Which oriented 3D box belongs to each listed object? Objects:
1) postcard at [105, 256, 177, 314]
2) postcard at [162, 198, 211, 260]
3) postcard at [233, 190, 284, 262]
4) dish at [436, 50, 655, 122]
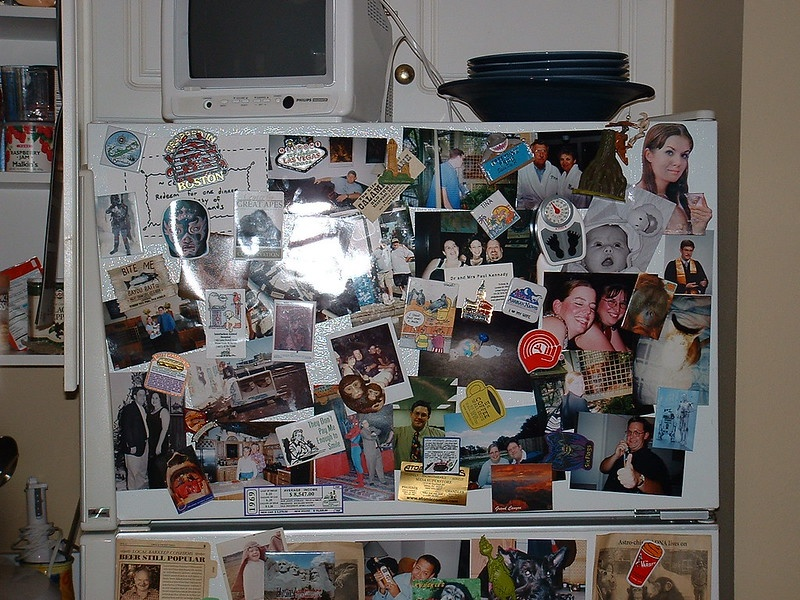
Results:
[{"bbox_3d":[-0.510,-0.036,1.644,0.087,0.073,0.005,-19,3,4],"label":"postcard"},{"bbox_3d":[-0.423,-0.148,1.639,0.105,0.138,0.018,-1,2,-2],"label":"postcard"},{"bbox_3d":[-0.283,-0.155,1.638,0.127,0.180,0.015,0,0,-2],"label":"postcard"},{"bbox_3d":[0.300,-0.453,1.771,0.461,0.162,0.222,0,8,17],"label":"dish"}]
